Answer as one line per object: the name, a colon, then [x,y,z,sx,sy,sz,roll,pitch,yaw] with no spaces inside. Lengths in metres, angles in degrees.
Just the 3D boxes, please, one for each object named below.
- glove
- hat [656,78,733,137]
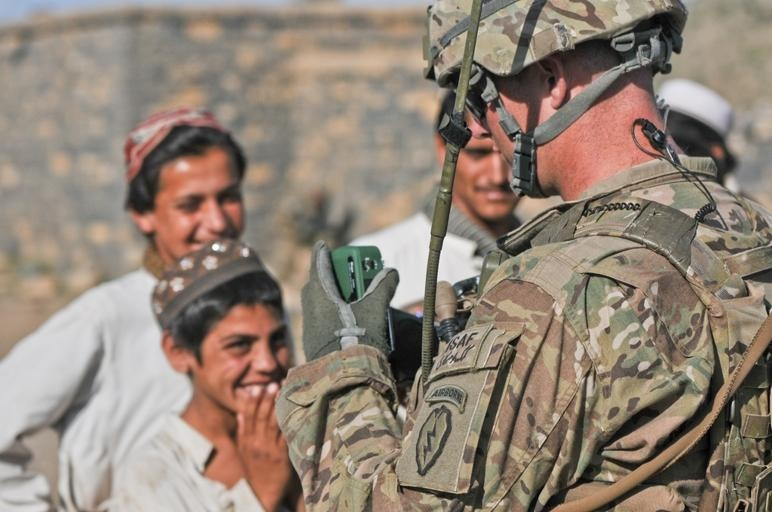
glove: [-0.207,0.251,7.776,0.355,0.556,0.214,4,-26,-2]
hat: [1.848,-0.846,10.116,0.415,0.113,0.464,18,0,-22]
